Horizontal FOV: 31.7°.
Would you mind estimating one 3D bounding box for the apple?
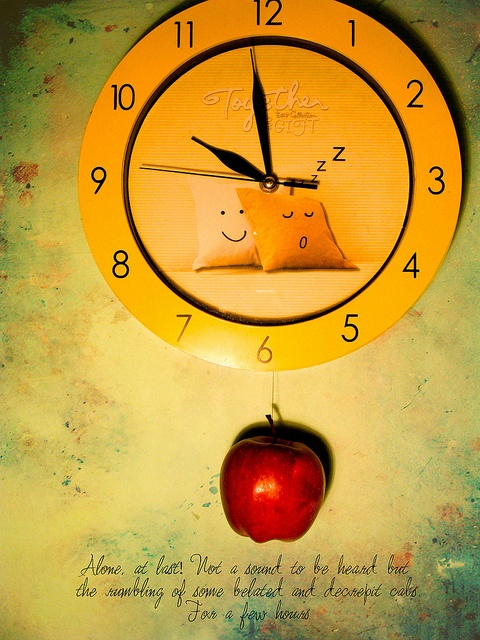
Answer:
[{"bbox_3d":[0.064,0.306,1.615,0.202,0.196,0.223,2,-94,-15],"label":"apple"}]
